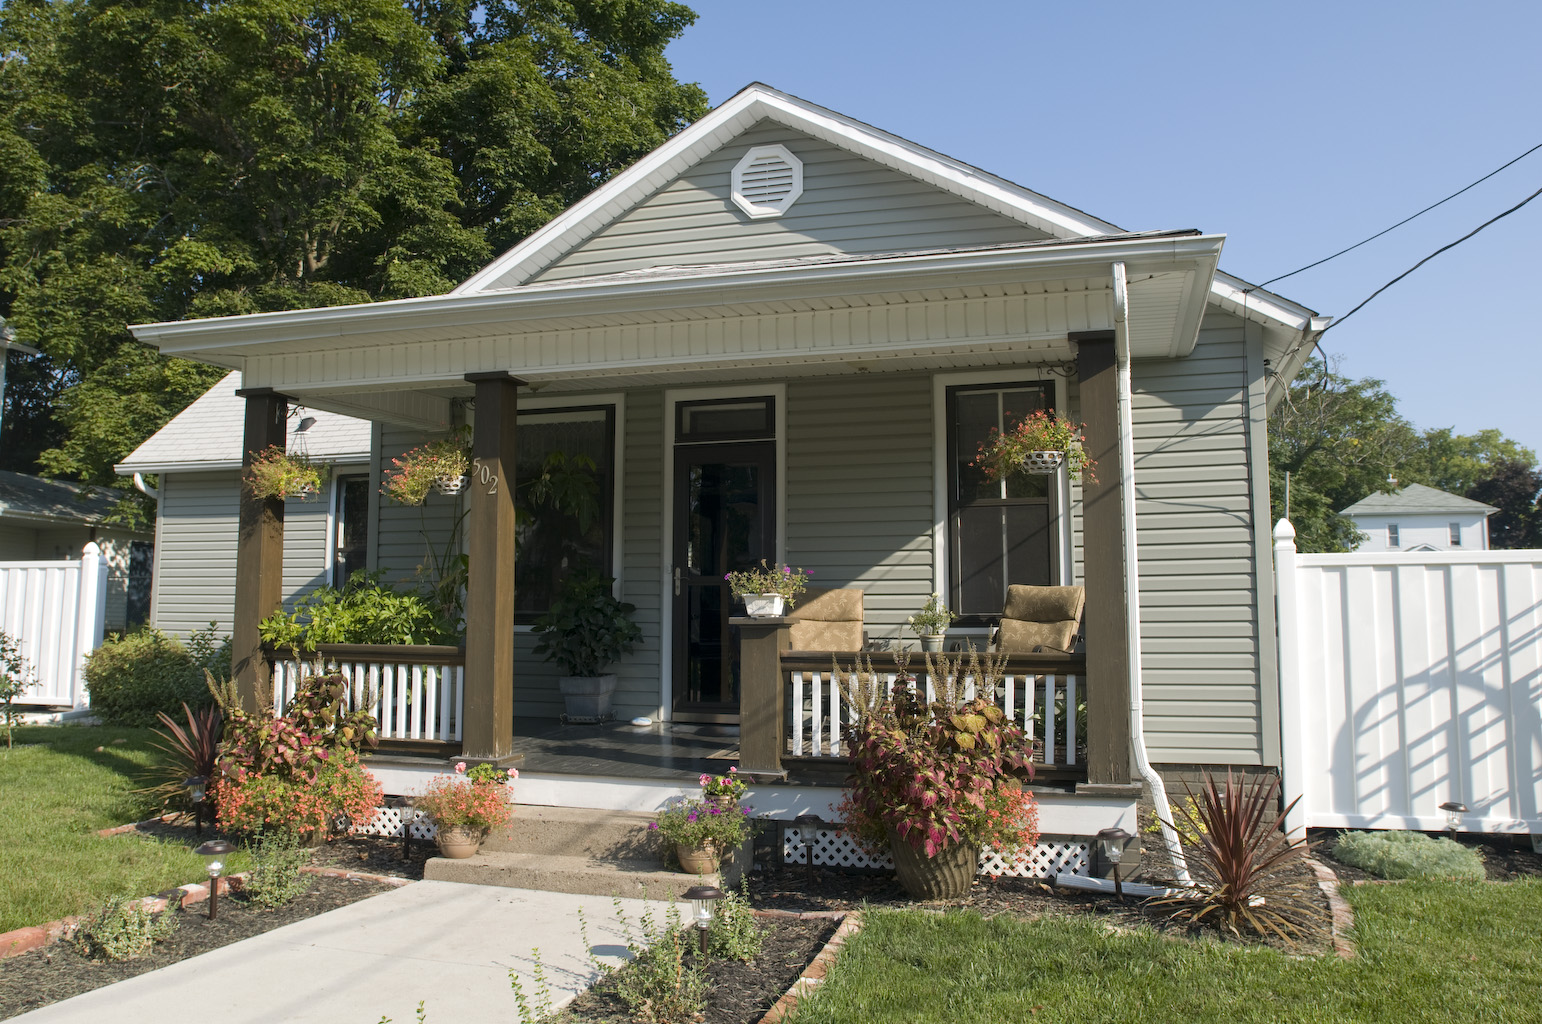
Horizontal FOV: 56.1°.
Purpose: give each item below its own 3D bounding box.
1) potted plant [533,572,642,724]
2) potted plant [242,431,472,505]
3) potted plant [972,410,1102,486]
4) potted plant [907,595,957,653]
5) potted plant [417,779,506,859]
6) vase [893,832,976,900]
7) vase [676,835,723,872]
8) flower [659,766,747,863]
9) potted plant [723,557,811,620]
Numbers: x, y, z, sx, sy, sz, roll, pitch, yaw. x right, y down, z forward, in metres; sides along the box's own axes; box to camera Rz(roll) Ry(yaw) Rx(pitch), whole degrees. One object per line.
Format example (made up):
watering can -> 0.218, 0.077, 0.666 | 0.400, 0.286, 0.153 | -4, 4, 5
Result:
potted plant -> -2.276, 1.725, 18.696 | 1.637, 2.147, 1.618 | 0, -1, 8
potted plant -> -4.950, -0.444, 17.402 | 1.602, 0.574, 1.184 | -4, 2, -17
potted plant -> 3.033, -0.790, 16.424 | 1.068, 0.580, 1.214 | -1, 3, -36
potted plant -> 1.928, 1.362, 17.214 | 0.546, 0.710, 0.576 | 2, -15, -1
potted plant -> -3.263, 3.286, 15.447 | 0.818, 0.690, 0.775 | 1, -11, -2
vase -> 1.665, 3.568, 14.472 | 0.637, 0.479, 0.656 | 0, -11, 4
vase -> -0.743, 3.568, 14.954 | 0.363, 0.281, 0.372 | 0, -5, 18
flower -> -0.703, 3.223, 15.249 | 0.862, 0.688, 0.941 | 2, -4, -18
potted plant -> -0.020, 0.931, 17.216 | 0.718, 0.487, 0.737 | 0, -8, 8
